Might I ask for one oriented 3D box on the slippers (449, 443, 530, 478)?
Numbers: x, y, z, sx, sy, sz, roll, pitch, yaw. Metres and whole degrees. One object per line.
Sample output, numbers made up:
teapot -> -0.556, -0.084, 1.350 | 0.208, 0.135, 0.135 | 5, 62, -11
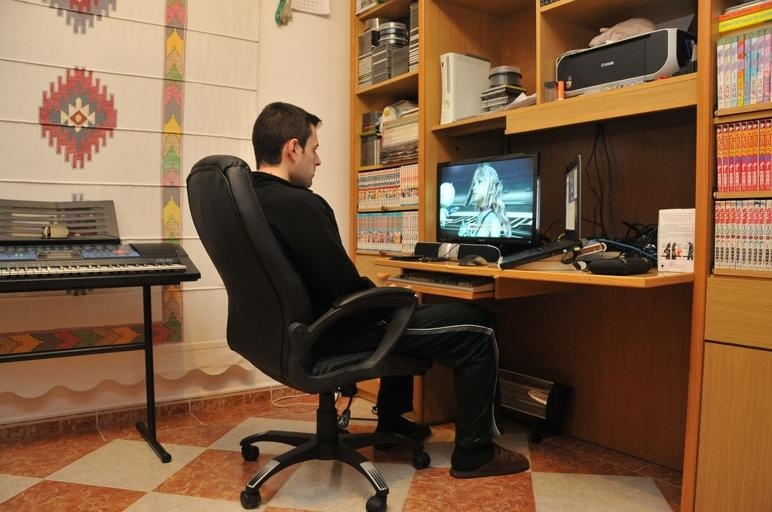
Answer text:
slippers -> 0.518, 1.048, 2.979 | 0.463, 0.176, 0.153 | -2, -3, -10

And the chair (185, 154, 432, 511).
chair -> -0.450, 0.280, 3.650 | 1.648, 2.099, 1.562 | -2, 2, -27

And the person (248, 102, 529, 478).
person -> -0.089, 0.210, 3.081 | 1.377, 1.789, 1.112 | -3, 6, -31

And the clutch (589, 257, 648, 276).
clutch -> 1.036, 0.041, 2.526 | 0.260, 0.072, 0.151 | -7, 13, -32
